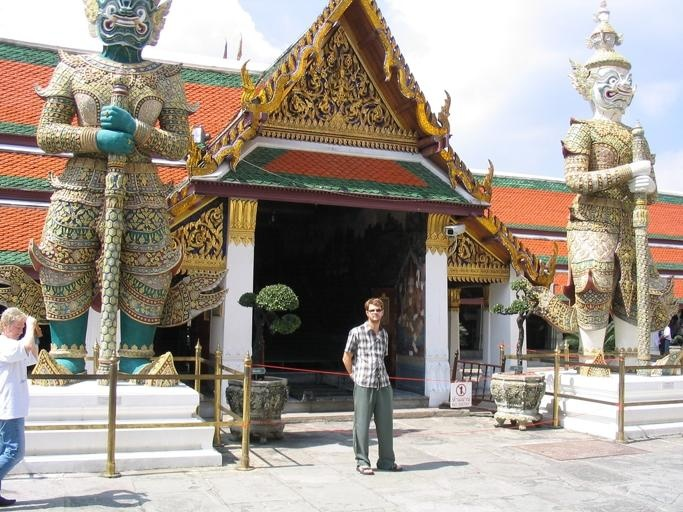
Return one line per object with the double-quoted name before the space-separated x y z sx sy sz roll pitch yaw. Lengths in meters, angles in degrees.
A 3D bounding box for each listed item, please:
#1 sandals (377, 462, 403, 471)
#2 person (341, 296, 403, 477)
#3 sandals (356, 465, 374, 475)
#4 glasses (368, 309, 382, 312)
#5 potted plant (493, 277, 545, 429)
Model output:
"sandals" 0.538 2.335 7.650 0.244 0.098 0.102 -1 -6 3
"person" 0.347 1.429 7.633 0.660 1.401 0.368 2 -1 -3
"sandals" 0.258 2.334 7.529 0.197 0.070 0.197 2 -1 3
"glasses" 0.371 0.599 7.564 0.119 0.033 0.044 2 -1 2
"potted plant" 2.823 1.446 10.540 0.879 2.315 0.949 -8 -17 14
